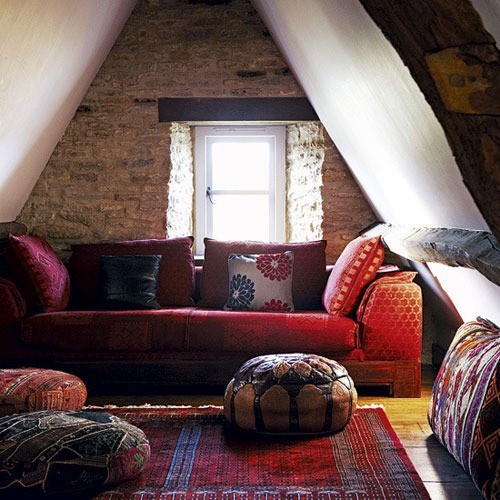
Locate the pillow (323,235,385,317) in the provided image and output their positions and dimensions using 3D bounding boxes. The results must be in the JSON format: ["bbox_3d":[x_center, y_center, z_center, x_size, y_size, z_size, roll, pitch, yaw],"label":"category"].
[{"bbox_3d":[0.615,0.170,3.027,0.330,0.404,0.566,-4,0,0],"label":"pillow"}]

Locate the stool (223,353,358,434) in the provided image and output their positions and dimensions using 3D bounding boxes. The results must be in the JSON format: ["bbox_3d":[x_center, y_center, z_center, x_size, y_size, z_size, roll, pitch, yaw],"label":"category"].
[{"bbox_3d":[0.180,0.644,2.264,0.487,0.178,0.416,1,-9,-7],"label":"stool"}]

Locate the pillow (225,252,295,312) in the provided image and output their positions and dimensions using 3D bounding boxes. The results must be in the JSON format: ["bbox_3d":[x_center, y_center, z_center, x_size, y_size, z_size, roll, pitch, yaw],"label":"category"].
[{"bbox_3d":[0.073,0.216,3.325,0.453,0.323,0.143,-1,-23,5],"label":"pillow"}]

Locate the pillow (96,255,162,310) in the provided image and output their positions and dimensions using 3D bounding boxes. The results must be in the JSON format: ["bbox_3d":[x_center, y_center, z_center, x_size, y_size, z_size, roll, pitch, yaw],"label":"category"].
[{"bbox_3d":[-0.790,0.224,3.347,0.415,0.307,0.120,-1,-29,-3],"label":"pillow"}]

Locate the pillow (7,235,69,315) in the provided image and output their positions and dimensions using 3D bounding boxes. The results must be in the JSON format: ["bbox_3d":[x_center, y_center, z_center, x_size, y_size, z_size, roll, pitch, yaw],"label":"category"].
[{"bbox_3d":[-1.294,0.166,3.134,0.224,0.337,0.418,-10,27,-8],"label":"pillow"}]
